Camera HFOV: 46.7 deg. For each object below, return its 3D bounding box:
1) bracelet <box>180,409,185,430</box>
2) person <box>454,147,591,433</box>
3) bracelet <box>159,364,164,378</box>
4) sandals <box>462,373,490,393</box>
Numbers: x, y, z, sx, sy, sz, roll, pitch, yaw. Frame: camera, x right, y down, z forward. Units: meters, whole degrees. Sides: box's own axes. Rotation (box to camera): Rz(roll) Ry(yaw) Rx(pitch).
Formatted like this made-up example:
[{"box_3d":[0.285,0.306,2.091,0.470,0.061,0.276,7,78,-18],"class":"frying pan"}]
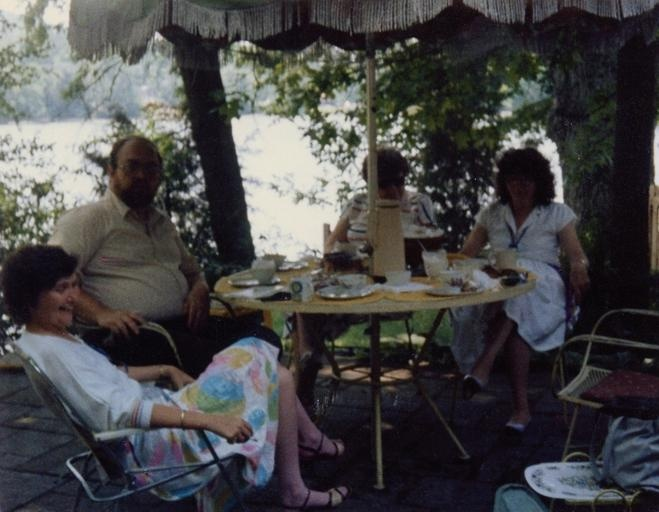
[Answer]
[{"box_3d":[-0.715,0.796,3.730,0.013,0.066,0.058,-1,-11,-16],"class":"bracelet"},{"box_3d":[1.205,0.110,5.307,0.975,2.042,1.443,1,0,27],"class":"person"},{"box_3d":[-0.959,0.661,4.400,0.018,0.058,0.035,7,-2,-40],"class":"bracelet"},{"box_3d":[0.944,0.818,4.982,0.053,0.083,0.196,-39,10,-25],"class":"sandals"}]
